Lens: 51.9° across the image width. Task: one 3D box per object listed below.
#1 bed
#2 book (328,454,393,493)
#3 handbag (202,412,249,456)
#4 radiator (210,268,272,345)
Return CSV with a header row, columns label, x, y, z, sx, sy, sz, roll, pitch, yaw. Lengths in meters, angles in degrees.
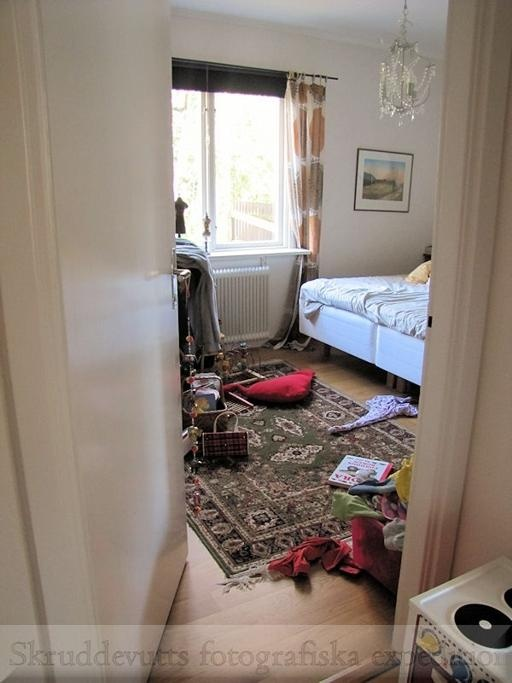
label,x,y,z,sx,sy,sz,roll,pitch,yaw
bed,0.802,-0.127,3.566,0.829,0.253,0.818,-17,27,-36
book,0.498,0.603,2.458,0.255,0.051,0.318,6,16,24
handbag,-0.163,0.477,2.688,0.184,0.198,0.087,-2,14,-9
radiator,-0.131,-0.293,4.141,0.542,0.573,0.079,-13,22,-31
